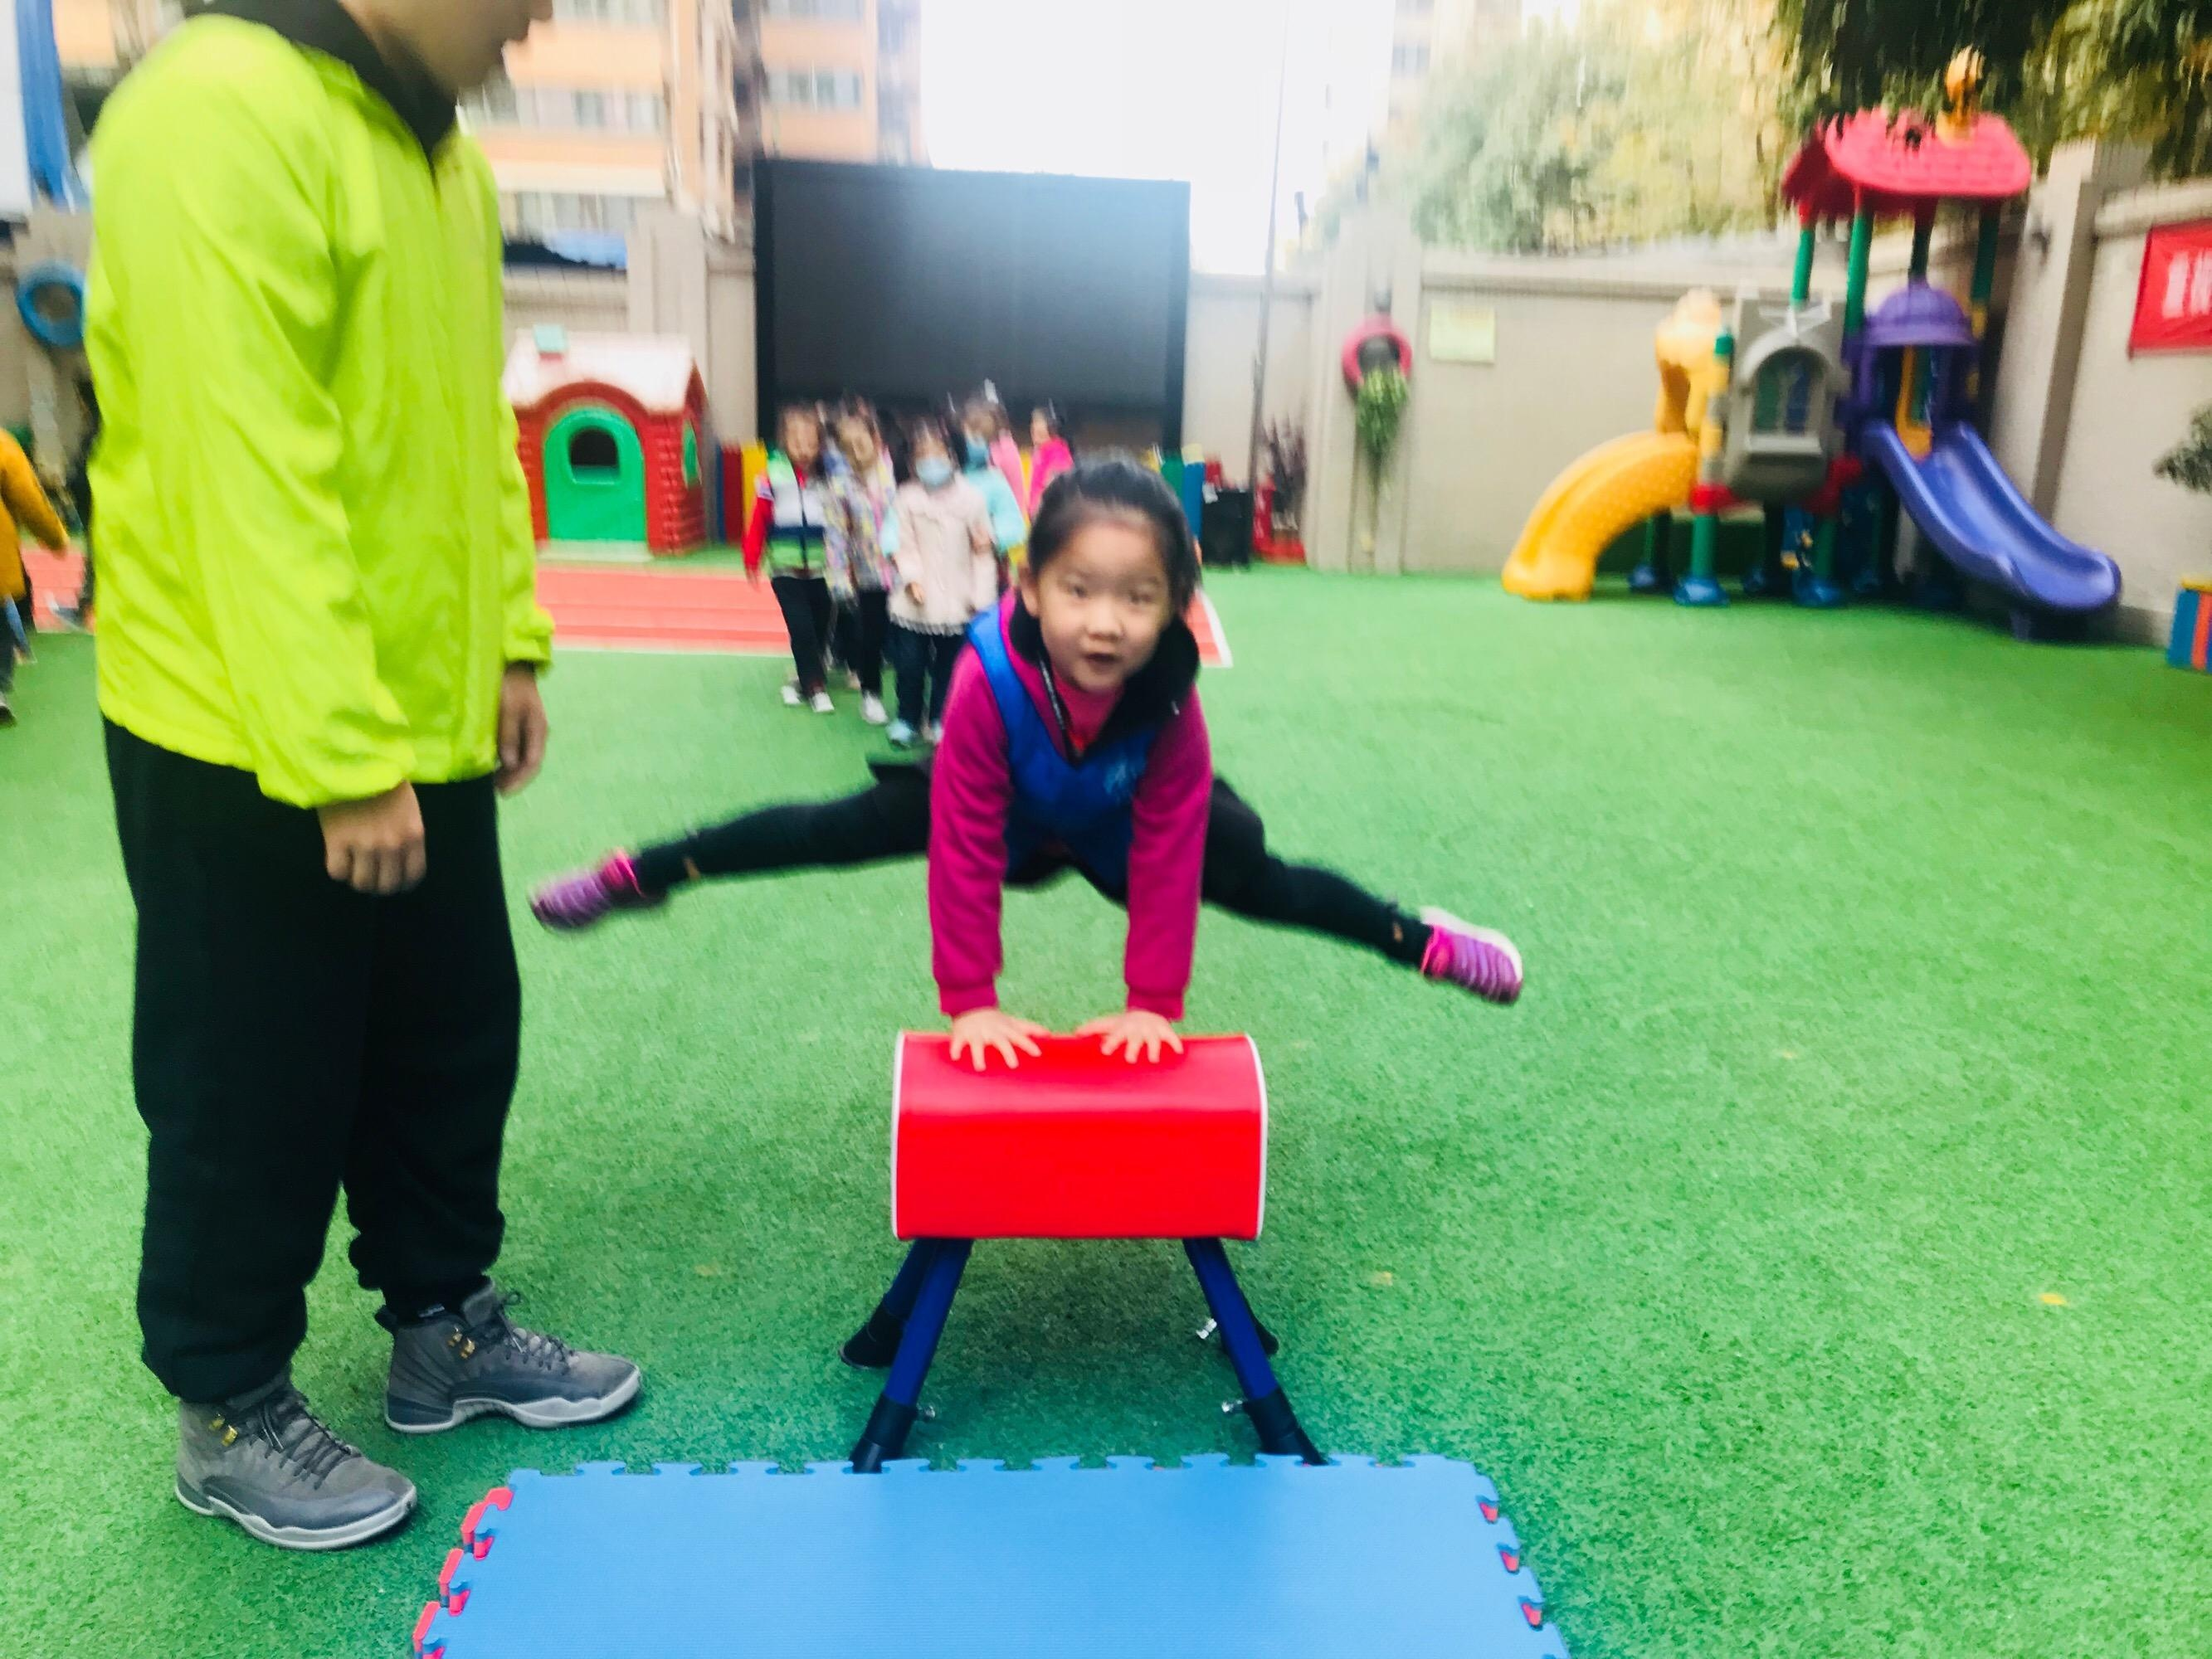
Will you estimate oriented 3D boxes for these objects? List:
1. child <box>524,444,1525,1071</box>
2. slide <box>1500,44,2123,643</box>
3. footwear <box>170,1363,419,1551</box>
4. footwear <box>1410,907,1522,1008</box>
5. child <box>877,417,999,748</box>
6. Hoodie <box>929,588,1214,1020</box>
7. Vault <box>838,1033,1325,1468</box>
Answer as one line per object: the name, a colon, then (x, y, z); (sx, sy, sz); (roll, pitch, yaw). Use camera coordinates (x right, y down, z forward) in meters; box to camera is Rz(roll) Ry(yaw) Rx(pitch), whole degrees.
child: (-0.092, -0.157, 2.696); (1.773, 1.039, 0.814); (5, 5, -1)
slide: (5.339, -3.893, 12.272); (4.226, 4.284, 2.717); (13, 21, 40)
footwear: (-1.223, 0.903, 2.351); (0.326, 0.265, 0.137); (12, 3, 6)
footwear: (0.714, 0.267, 3.226); (0.223, 0.169, 0.083); (19, -23, -27)
child: (-0.720, -1.008, 6.845); (0.505, 1.636, 0.399); (3, -20, -18)
Hoodie: (-0.059, 0.031, 2.611); (0.454, 0.408, 0.775); (2, 51, -1)
Vault: (-0.060, 0.562, 2.683); (0.797, 0.739, 0.691); (-2, 30, -9)
